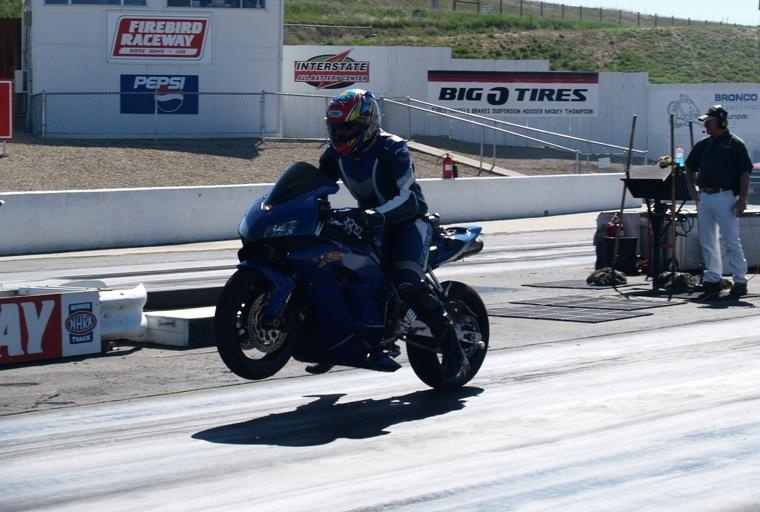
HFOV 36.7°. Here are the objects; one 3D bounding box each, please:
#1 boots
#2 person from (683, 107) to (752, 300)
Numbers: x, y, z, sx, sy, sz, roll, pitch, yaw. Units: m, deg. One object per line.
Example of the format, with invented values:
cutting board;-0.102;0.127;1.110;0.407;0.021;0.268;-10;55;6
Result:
boots;0.592;0.832;11.821;0.374;0.988;0.783;-16;3;-34
person;4.890;-0.776;16.528;0.783;2.717;0.967;-3;14;-12
